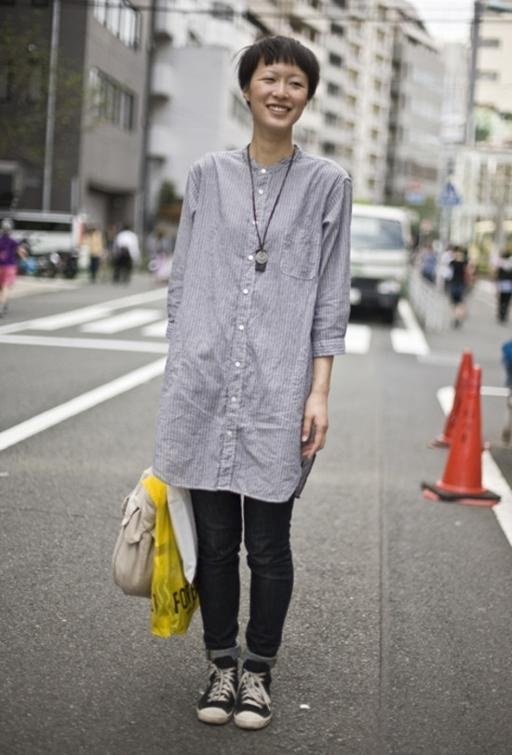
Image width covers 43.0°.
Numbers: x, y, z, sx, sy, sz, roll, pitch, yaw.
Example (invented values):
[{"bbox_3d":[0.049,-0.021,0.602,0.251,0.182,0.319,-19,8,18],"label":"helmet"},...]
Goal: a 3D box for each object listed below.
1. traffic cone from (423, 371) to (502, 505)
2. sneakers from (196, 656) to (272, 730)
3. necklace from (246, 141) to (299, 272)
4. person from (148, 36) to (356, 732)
[{"bbox_3d":[1.253,0.323,3.899,0.462,0.796,0.305,4,5,15],"label":"traffic cone"},{"bbox_3d":[-0.037,0.772,1.631,0.110,0.076,0.187,2,-1,5],"label":"sneakers"},{"bbox_3d":[0.030,-0.384,1.475,0.115,0.297,0.112,3,5,-2],"label":"necklace"},{"bbox_3d":[-0.019,0.030,1.569,0.455,1.655,0.267,3,5,7],"label":"person"}]
